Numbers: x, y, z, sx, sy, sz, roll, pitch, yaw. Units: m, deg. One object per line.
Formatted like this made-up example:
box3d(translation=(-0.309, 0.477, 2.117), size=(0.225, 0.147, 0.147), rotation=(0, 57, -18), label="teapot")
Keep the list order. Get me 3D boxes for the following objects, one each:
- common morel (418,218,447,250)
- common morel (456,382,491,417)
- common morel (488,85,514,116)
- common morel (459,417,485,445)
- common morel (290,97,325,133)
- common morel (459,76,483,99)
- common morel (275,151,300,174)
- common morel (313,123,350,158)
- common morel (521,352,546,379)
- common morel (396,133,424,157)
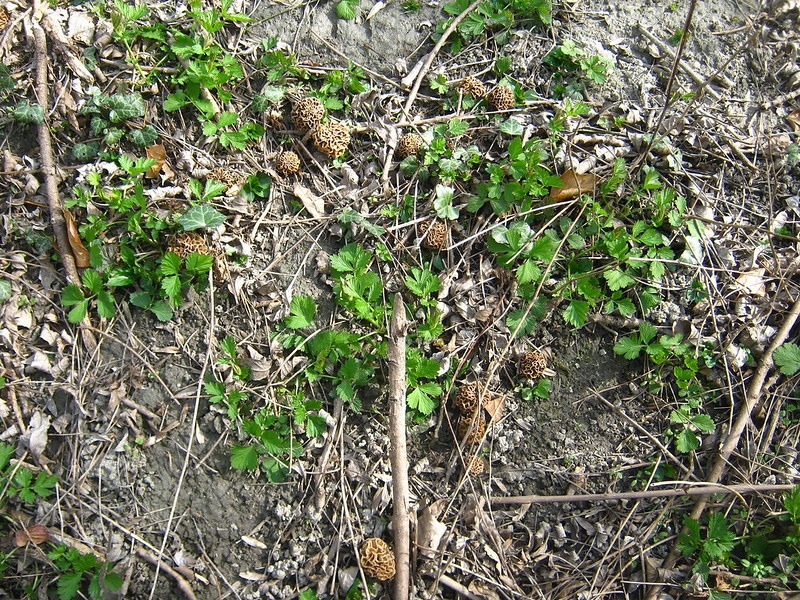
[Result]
box3d(translation=(0.220, -0.433, 4.536), size=(0.145, 0.171, 0.204), rotation=(-9, 45, -1), label="common morel")
box3d(translation=(0.459, 0.618, 4.361), size=(0.176, 0.114, 0.198), rotation=(-11, 75, 9), label="common morel")
box3d(translation=(0.697, -1.371, 4.762), size=(0.135, 0.081, 0.187), rotation=(1, 89, 0), label="common morel")
box3d(translation=(0.453, 0.818, 4.400), size=(0.149, 0.093, 0.188), rotation=(19, 84, -27), label="common morel")
box3d(translation=(-0.612, -1.239, 4.653), size=(0.214, 0.178, 0.180), rotation=(14, 45, 10), label="common morel")
box3d(translation=(0.494, -1.458, 4.742), size=(0.122, 0.080, 0.149), rotation=(-23, 70, -23), label="common morel")
box3d(translation=(-0.743, -0.913, 4.597), size=(0.122, 0.065, 0.165), rotation=(0, 92, -6), label="common morel")
box3d(translation=(-0.457, -1.078, 4.640), size=(0.252, 0.182, 0.185), rotation=(2, 44, -2), label="common morel")
box3d(translation=(0.850, 0.415, 4.411), size=(0.135, 0.095, 0.180), rotation=(-12, 78, 3), label="common morel")
box3d(translation=(0.067, -1.044, 4.709), size=(0.154, 0.151, 0.135), rotation=(-37, 69, -23), label="common morel")
